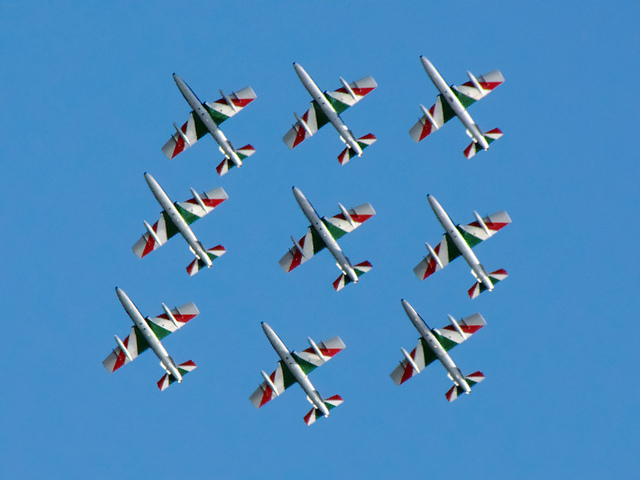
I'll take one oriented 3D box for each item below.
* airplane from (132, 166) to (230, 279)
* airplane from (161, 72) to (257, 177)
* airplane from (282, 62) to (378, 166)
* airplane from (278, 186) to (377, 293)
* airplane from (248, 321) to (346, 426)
[{"bbox_3d":[-9.329,-1.260,95.654,5.791,6.331,2.975,-18,20,16],"label":"airplane"},{"bbox_3d":[-7.463,-8.039,96.228,6.173,6.660,2.364,-22,19,7],"label":"airplane"},{"bbox_3d":[0.653,-8.569,95.988,6.142,6.250,2.624,-22,19,8],"label":"airplane"},{"bbox_3d":[0.469,-0.331,94.797,6.162,6.482,2.136,-21,19,9],"label":"airplane"},{"bbox_3d":[-1.530,8.422,93.694,6.342,6.672,2.576,-27,20,-7],"label":"airplane"}]
